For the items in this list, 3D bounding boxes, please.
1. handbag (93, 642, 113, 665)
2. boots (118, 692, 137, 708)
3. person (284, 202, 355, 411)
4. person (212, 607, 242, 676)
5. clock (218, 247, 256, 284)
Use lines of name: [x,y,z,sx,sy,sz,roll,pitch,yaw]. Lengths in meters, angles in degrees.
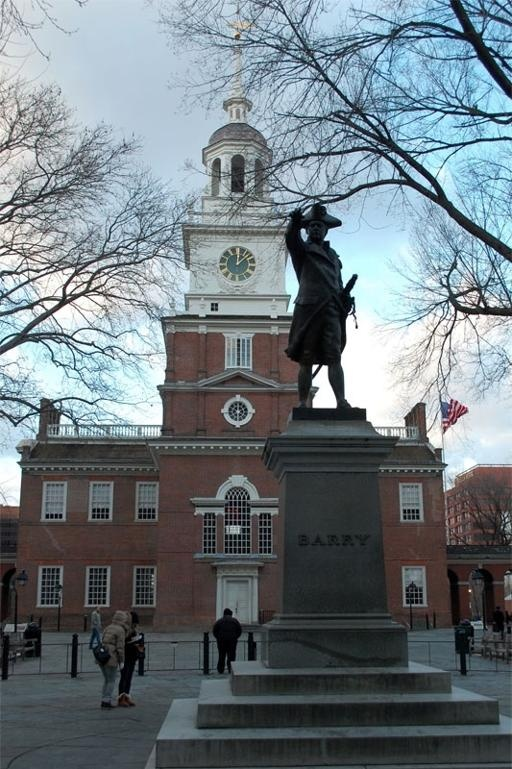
handbag: [-2.317,4.093,12.575,0.328,0.302,0.235,5,-31,-42]
boots: [-1.980,4.890,12.883,0.353,0.232,0.116,2,-5,-7]
person: [0.724,-0.969,9.396,0.790,2.609,0.951,-2,-16,2]
person: [-0.617,5.270,16.963,0.535,1.324,1.329,-1,-16,-2]
clock: [-1.072,-6.542,45.640,2.211,2.155,0.162,2,-20,-1]
